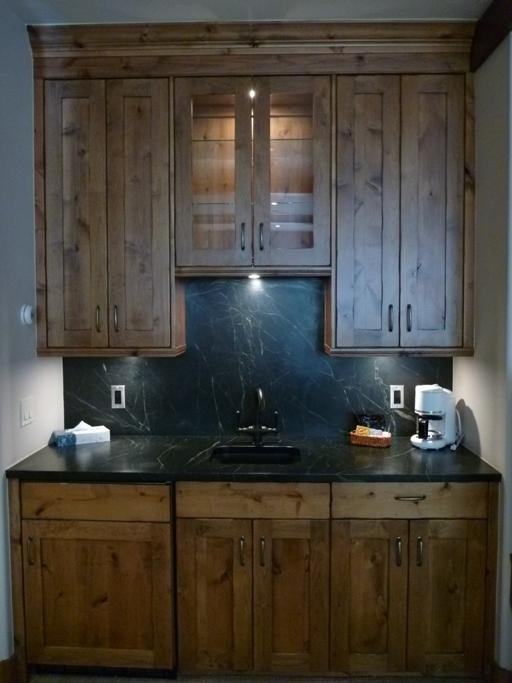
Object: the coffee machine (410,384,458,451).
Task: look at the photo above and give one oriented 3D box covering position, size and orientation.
[{"bbox_3d":[0.803,0.335,3.106,0.214,0.337,0.177,2,-4,-18],"label":"coffee machine"}]
